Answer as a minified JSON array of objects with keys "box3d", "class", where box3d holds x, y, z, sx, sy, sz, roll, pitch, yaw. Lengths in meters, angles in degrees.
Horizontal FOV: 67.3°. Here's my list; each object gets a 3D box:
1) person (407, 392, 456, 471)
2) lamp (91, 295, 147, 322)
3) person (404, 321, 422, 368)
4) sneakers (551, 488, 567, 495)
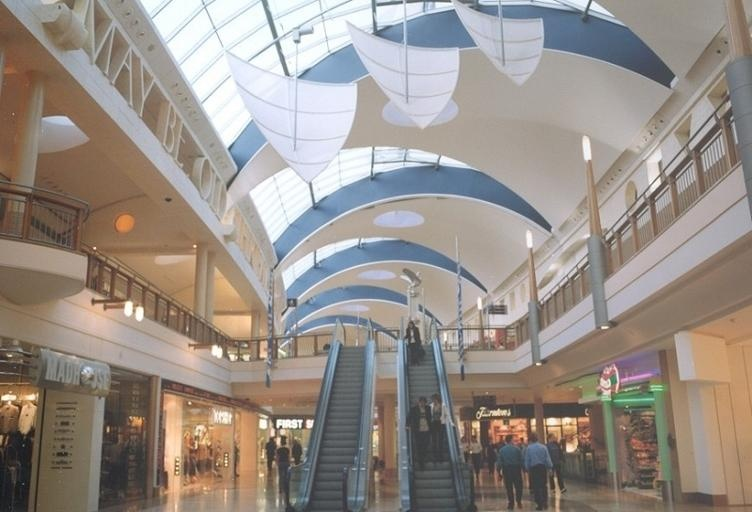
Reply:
[{"box3d":[1.492,4.917,15.686,1.117,1.864,1.474,-10,-28,20],"class":"person"},{"box3d":[-6.830,1.320,15.077,0.889,0.443,0.798,-6,-25,6],"class":"lamp"},{"box3d":[1.466,3.278,21.847,0.630,1.862,0.877,-2,-26,3],"class":"person"},{"box3d":[6.052,7.821,18.634,0.192,0.302,0.662,2,-31,-8],"class":"sneakers"}]
